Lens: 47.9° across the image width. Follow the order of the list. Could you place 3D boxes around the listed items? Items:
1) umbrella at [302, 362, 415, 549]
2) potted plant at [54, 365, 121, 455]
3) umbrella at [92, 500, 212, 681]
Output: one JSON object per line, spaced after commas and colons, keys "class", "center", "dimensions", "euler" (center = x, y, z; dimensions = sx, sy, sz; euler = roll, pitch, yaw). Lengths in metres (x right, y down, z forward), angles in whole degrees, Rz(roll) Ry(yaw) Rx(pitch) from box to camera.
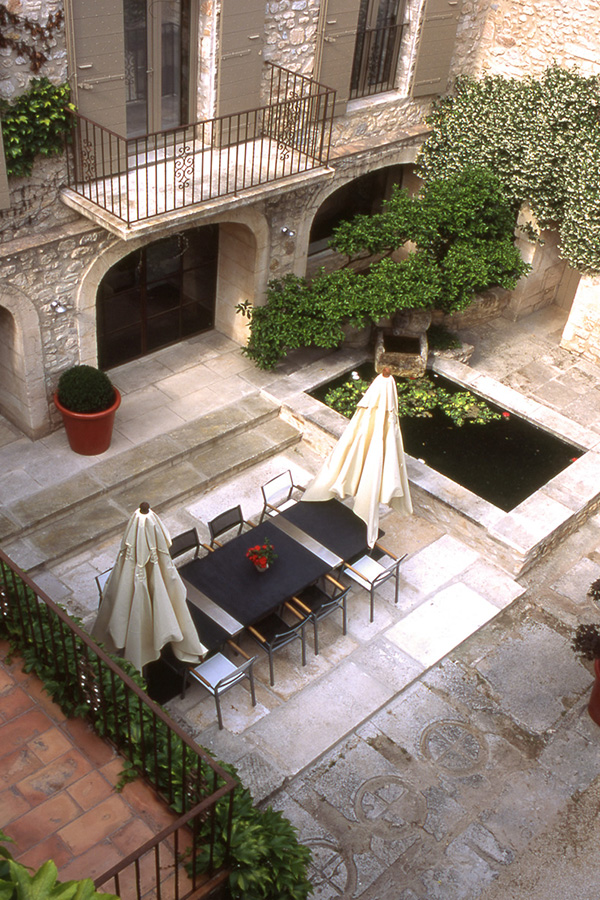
{"class": "umbrella", "center": [0.618, 0.127, 7.544], "dimensions": [1.056, 1.932, 1.086], "euler": [23, 43, 12]}
{"class": "potted plant", "center": [-2.516, -0.406, 7.943], "dimensions": [0.717, 1.043, 0.517], "euler": [0, 32, -14]}
{"class": "umbrella", "center": [-1.120, 0.991, 4.948], "dimensions": [0.781, 1.219, 0.574], "euler": [0, 12, 1]}
